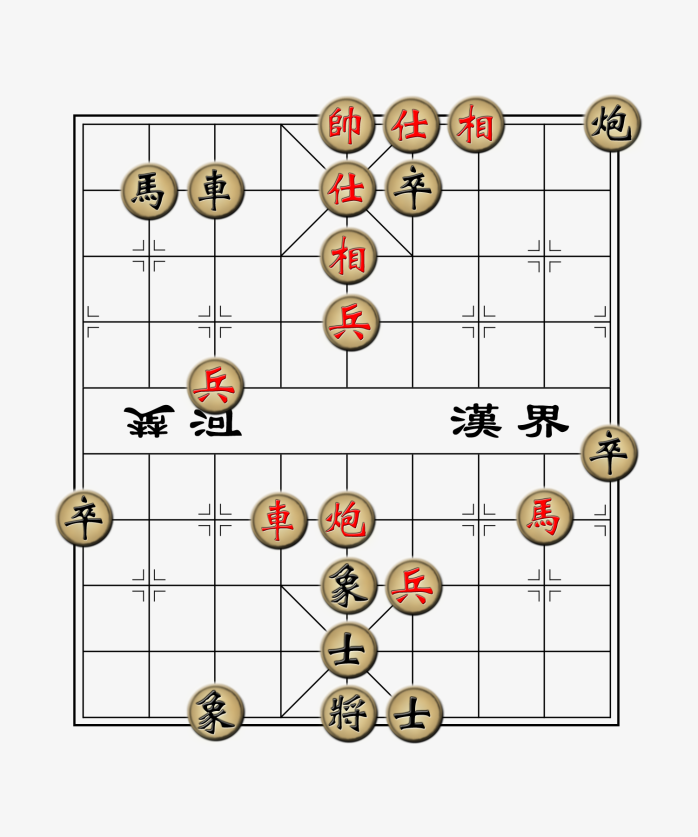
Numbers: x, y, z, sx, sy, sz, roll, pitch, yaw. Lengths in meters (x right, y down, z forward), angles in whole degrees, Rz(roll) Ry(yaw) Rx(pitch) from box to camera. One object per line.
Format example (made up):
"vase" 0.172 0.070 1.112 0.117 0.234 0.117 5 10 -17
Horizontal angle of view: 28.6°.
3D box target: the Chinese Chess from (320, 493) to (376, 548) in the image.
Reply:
"Chinese Chess" -0.018 0.787 10.420 0.422 0.068 0.423 1 -84 0

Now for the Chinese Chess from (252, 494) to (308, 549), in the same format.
"Chinese Chess" -0.549 0.791 10.455 0.440 0.437 0.432 0 -79 3

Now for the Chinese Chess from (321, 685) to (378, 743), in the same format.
"Chinese Chess" -0.003 2.255 10.385 0.429 0.140 0.416 1 -84 0

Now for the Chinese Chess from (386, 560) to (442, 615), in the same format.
"Chinese Chess" 0.482 1.310 10.486 0.472 0.468 0.449 0 -78 3

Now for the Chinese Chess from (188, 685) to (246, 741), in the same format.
"Chinese Chess" -1.015 2.256 10.359 0.481 0.111 0.472 2 -91 3

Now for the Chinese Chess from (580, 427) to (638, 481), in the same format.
"Chinese Chess" 1.884 0.253 9.997 0.434 0.081 0.463 0 -93 4

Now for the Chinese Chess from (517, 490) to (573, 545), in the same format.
"Chinese Chess" 1.490 0.765 10.520 0.432 0.431 0.416 -6 -98 5

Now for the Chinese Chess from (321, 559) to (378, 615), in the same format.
"Chinese Chess" -0.009 1.291 10.395 0.417 0.051 0.426 1 -84 0
